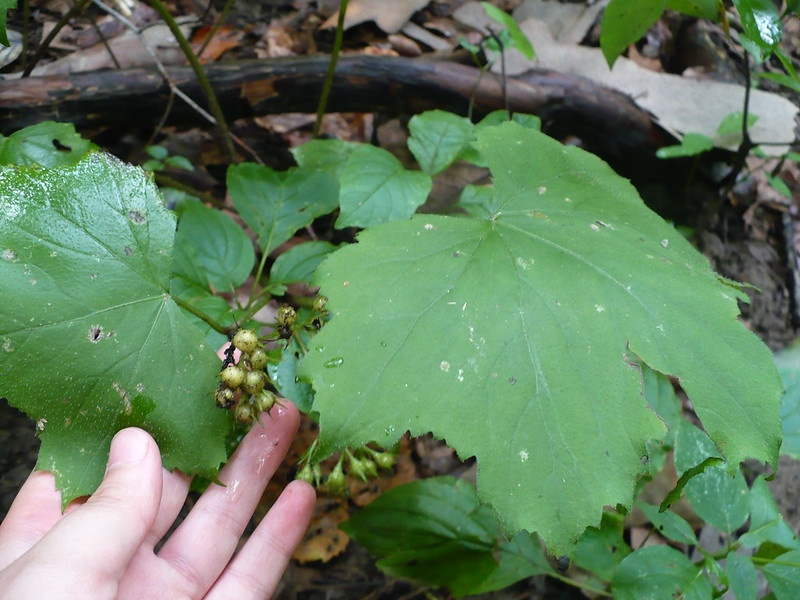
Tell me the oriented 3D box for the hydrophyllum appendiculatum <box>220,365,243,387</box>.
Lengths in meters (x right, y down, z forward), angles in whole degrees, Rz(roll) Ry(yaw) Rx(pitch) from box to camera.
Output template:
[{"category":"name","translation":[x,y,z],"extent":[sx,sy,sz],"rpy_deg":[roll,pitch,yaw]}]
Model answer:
[{"category":"hydrophyllum appendiculatum","translation":[-0.581,0.263,2.498],"extent":[0.069,0.055,0.067],"rpy_deg":[1,87,-38]}]

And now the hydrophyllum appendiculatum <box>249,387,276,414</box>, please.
[{"category":"hydrophyllum appendiculatum","translation":[-0.482,0.355,2.548],"extent":[0.070,0.046,0.088],"rpy_deg":[25,70,8]}]

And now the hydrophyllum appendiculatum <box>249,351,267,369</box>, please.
[{"category":"hydrophyllum appendiculatum","translation":[-0.505,0.216,2.559],"extent":[0.057,0.056,0.052],"rpy_deg":[-16,57,-24]}]

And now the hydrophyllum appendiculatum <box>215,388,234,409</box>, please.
[{"category":"hydrophyllum appendiculatum","translation":[-0.622,0.350,2.547],"extent":[0.062,0.106,0.054],"rpy_deg":[6,49,-7]}]

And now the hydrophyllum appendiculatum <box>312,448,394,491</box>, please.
[{"category":"hydrophyllum appendiculatum","translation":[-0.183,0.664,2.861],"extent":[0.252,0.257,0.072],"rpy_deg":[-19,95,-3]}]

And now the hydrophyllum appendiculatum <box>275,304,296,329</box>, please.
[{"category":"hydrophyllum appendiculatum","translation":[-0.411,0.061,2.599],"extent":[0.055,0.078,0.075],"rpy_deg":[11,33,-6]}]

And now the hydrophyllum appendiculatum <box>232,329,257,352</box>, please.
[{"category":"hydrophyllum appendiculatum","translation":[-0.549,0.147,2.553],"extent":[0.093,0.073,0.065],"rpy_deg":[3,51,-12]}]

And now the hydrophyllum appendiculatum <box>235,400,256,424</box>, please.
[{"category":"hydrophyllum appendiculatum","translation":[-0.548,0.395,2.542],"extent":[0.056,0.063,0.084],"rpy_deg":[-1,93,-5]}]

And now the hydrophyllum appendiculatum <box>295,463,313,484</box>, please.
[{"category":"hydrophyllum appendiculatum","translation":[-0.373,0.674,2.825],"extent":[0.067,0.060,0.058],"rpy_deg":[8,51,-7]}]

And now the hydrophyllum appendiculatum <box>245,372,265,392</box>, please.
[{"category":"hydrophyllum appendiculatum","translation":[-0.508,0.285,2.513],"extent":[0.050,0.070,0.062],"rpy_deg":[0,92,0]}]
